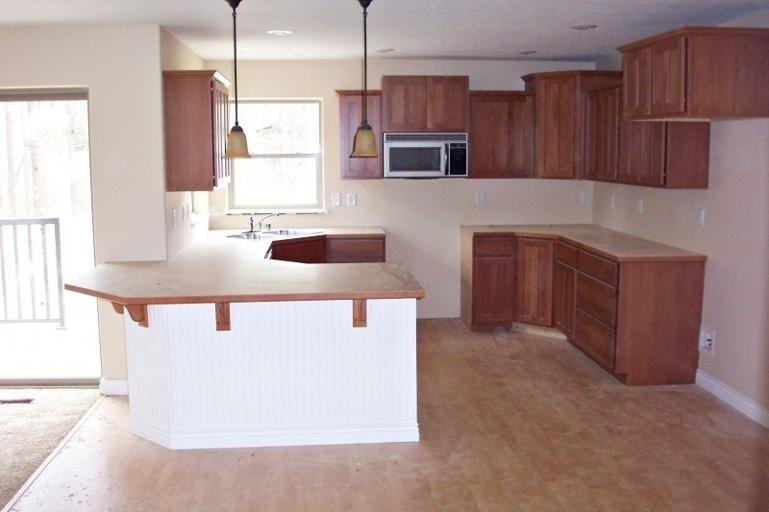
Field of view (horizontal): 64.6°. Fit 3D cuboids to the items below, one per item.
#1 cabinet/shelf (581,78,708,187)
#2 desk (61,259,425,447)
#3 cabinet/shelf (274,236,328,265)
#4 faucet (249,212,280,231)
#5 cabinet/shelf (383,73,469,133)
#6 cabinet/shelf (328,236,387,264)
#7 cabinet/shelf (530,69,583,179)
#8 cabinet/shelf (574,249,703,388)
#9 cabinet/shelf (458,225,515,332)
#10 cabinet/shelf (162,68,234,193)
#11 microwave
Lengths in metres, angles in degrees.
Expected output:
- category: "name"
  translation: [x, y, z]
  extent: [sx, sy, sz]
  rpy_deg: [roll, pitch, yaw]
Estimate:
- category: "cabinet/shelf"
  translation: [2.416, -1.122, 5.584]
  extent: [0.434, 0.758, 1.244]
  rpy_deg: [-2, 11, -1]
- category: "desk"
  translation: [-0.957, 0.776, 4.905]
  extent: [2.435, 1.239, 0.831]
  rpy_deg: [0, 14, -2]
- category: "cabinet/shelf"
  translation: [-0.912, 0.016, 6.514]
  extent: [0.533, 0.459, 0.300]
  rpy_deg: [-4, 7, -43]
- category: "faucet"
  translation: [-1.401, -0.388, 7.030]
  extent: [0.351, 0.183, 0.313]
  rpy_deg: [-2, 13, -9]
- category: "cabinet/shelf"
  translation: [0.375, -1.732, 7.050]
  extent: [1.044, 0.596, 0.517]
  rpy_deg: [-5, 11, -19]
- category: "cabinet/shelf"
  translation: [-0.332, -0.078, 6.756]
  extent: [0.621, 0.353, 0.315]
  rpy_deg: [0, 10, 1]
- category: "cabinet/shelf"
  translation: [1.897, -1.442, 6.780]
  extent: [0.552, 1.144, 0.137]
  rpy_deg: [11, 18, 37]
- category: "cabinet/shelf"
  translation: [2.316, 0.576, 6.176]
  extent: [0.978, 1.173, 1.317]
  rpy_deg: [2, 3, -10]
- category: "cabinet/shelf"
  translation: [1.156, 0.268, 7.034]
  extent: [0.726, 1.147, 0.426]
  rpy_deg: [6, 15, 24]
- category: "cabinet/shelf"
  translation: [-1.751, -1.136, 5.579]
  extent: [0.495, 1.015, 1.227]
  rpy_deg: [-1, 11, -6]
- category: "microwave"
  translation: [0.421, -1.150, 6.644]
  extent: [0.937, 0.429, 0.530]
  rpy_deg: [0, 4, 0]
